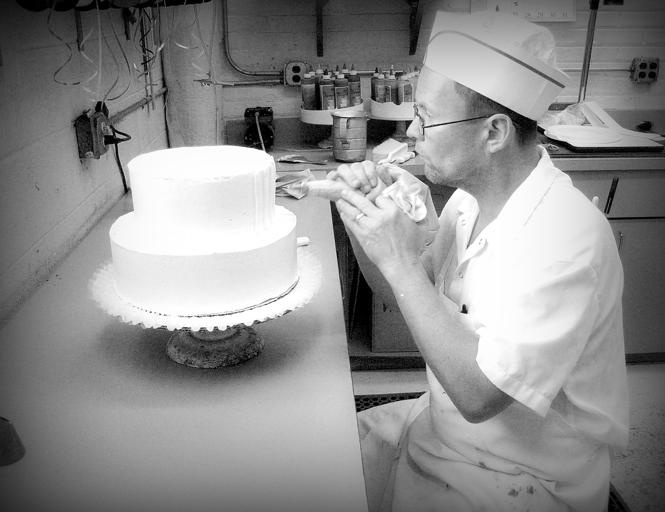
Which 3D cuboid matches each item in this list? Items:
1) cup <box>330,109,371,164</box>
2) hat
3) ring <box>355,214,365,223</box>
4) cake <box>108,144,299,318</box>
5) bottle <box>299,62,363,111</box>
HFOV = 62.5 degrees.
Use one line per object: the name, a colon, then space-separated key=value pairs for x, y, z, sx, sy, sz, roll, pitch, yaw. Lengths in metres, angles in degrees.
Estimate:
cup: x=0.133 y=-0.594 z=2.684 sx=0.246 sy=0.283 sz=0.281 roll=1 pitch=22 yaw=5
hat: x=0.344 y=-0.391 z=1.250 sx=0.273 sy=0.146 sz=0.253 roll=24 pitch=22 yaw=1
ring: x=0.062 y=-0.089 z=1.284 sx=0.021 sy=0.005 sz=0.021 roll=-40 pitch=12 yaw=10
cake: x=-0.259 y=-0.031 z=1.245 sx=0.373 sy=0.246 sz=0.379 roll=5 pitch=24 yaw=9
bottle: x=-0.001 y=-0.869 z=2.796 sx=0.314 sy=0.324 sz=0.188 roll=-2 pitch=25 yaw=2
